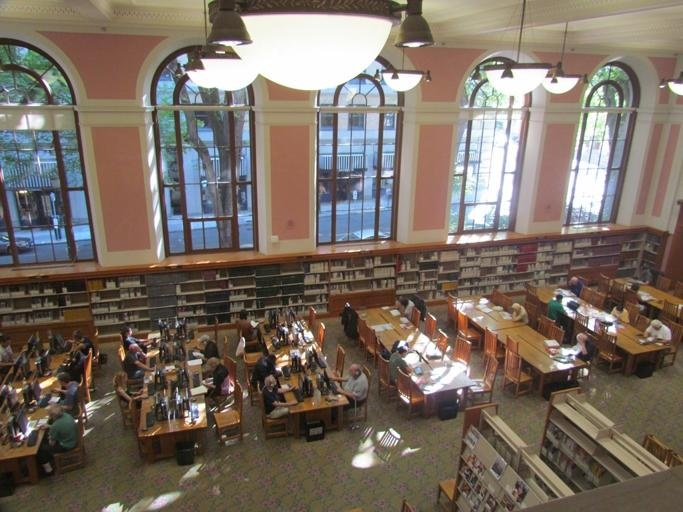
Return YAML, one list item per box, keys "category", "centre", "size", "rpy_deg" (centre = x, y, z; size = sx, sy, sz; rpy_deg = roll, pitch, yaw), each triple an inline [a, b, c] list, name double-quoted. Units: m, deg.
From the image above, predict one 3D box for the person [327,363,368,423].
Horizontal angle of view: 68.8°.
- category: "person"
  centre: [0.127, 2.929, 10.455]
  size: [0.716, 1.258, 0.809]
  rpy_deg: [1, 18, -9]

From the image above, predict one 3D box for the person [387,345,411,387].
- category: "person"
  centre: [1.352, 2.433, 11.000]
  size: [0.561, 1.025, 0.503]
  rpy_deg: [0, 14, -15]

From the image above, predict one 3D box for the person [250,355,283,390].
- category: "person"
  centre: [-1.653, 2.627, 10.894]
  size: [0.606, 1.068, 0.481]
  rpy_deg: [13, 19, -1]

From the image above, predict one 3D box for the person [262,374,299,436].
- category: "person"
  centre: [-1.264, 3.070, 10.222]
  size: [0.777, 1.394, 0.697]
  rpy_deg: [-1, 21, 1]

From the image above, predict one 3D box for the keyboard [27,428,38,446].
- category: "keyboard"
  centre: [-5.584, 3.289, 9.012]
  size: [0.125, 0.017, 0.351]
  rpy_deg: [-7, 23, -23]

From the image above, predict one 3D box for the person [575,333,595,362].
- category: "person"
  centre: [5.718, 2.188, 11.706]
  size: [0.374, 0.726, 0.370]
  rpy_deg: [3, 19, 21]

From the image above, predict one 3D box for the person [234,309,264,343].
- category: "person"
  centre: [-2.369, 1.802, 12.787]
  size: [0.773, 1.067, 0.742]
  rpy_deg: [-5, 28, -14]

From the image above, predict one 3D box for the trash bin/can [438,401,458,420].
- category: "trash bin/can"
  centre: [2.257, 3.282, 10.582]
  size: [0.345, 0.256, 0.202]
  rpy_deg: [-4, 13, -16]

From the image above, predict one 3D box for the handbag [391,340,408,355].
- category: "handbag"
  centre: [1.303, 2.049, 11.162]
  size: [0.307, 0.279, 0.250]
  rpy_deg: [-1, 8, 19]

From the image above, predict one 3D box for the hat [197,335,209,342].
- category: "hat"
  centre: [-3.247, 1.963, 11.678]
  size: [0.209, 0.114, 0.150]
  rpy_deg: [16, 7, 4]

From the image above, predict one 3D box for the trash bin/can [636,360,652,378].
- category: "trash bin/can"
  centre: [7.351, 2.758, 12.109]
  size: [0.345, 0.264, 0.201]
  rpy_deg: [-6, 21, -11]

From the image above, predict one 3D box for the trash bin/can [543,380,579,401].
- category: "trash bin/can"
  centre: [4.391, 2.710, 10.010]
  size: [0.820, 0.432, 0.269]
  rpy_deg: [-2, 4, -7]
